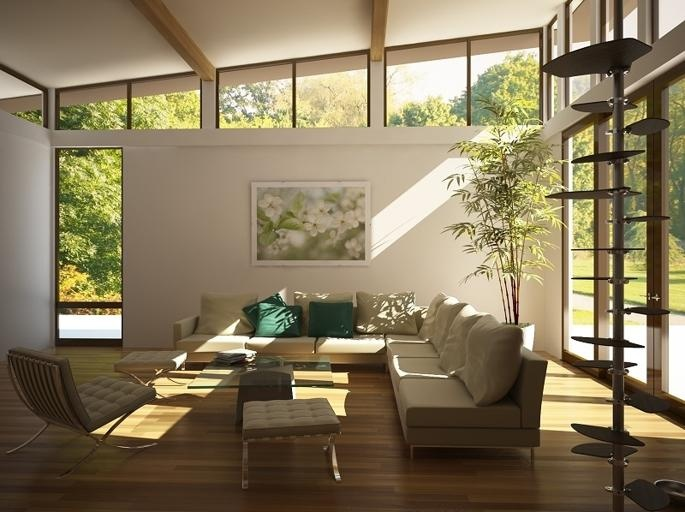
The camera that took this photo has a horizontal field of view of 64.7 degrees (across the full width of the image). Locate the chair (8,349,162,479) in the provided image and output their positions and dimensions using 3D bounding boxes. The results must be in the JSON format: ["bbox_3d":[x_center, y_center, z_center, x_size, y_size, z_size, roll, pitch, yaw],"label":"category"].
[{"bbox_3d":[-2.554,1.266,5.075,1.266,0.943,1.252,0,0,40],"label":"chair"}]

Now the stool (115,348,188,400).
[{"bbox_3d":[-2.256,1.476,6.332,0.628,0.354,0.824,1,-4,-3],"label":"stool"}]

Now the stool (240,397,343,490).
[{"bbox_3d":[-0.466,1.625,4.818,0.836,0.487,0.742,-1,10,-6],"label":"stool"}]

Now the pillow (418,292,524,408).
[{"bbox_3d":[1.378,0.933,5.080,0.437,0.716,0.693,0,10,-3],"label":"pillow"}]
